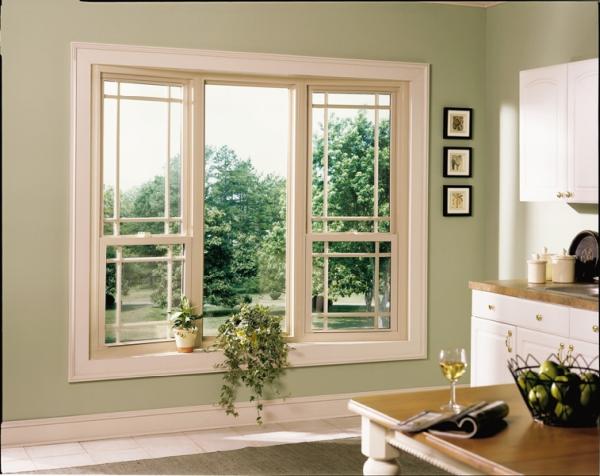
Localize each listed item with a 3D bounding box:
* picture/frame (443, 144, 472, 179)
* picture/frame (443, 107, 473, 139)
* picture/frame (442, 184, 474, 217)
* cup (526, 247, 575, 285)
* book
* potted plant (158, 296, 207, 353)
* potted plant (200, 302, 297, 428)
[{"bbox_3d":[1.357,-0.671,4.758,0.341,0.310,0.025,1,-2,-23],"label":"picture/frame"},{"bbox_3d":[1.358,-1.009,4.741,0.322,0.292,0.023,1,-1,-26],"label":"picture/frame"},{"bbox_3d":[1.365,-0.333,4.770,0.319,0.290,0.029,1,-1,-25],"label":"picture/frame"},{"bbox_3d":[1.806,0.201,3.978,0.288,0.166,0.226,0,2,0],"label":"cup"},{"bbox_3d":[0.553,0.543,1.710,0.282,0.056,0.293,-3,-5,-45],"label":"book"},{"bbox_3d":[-0.896,0.674,4.273,0.271,0.411,0.178,1,0,-9],"label":"potted plant"},{"bbox_3d":[-0.413,0.974,4.266,0.656,0.899,0.246,1,0,-2],"label":"potted plant"}]
